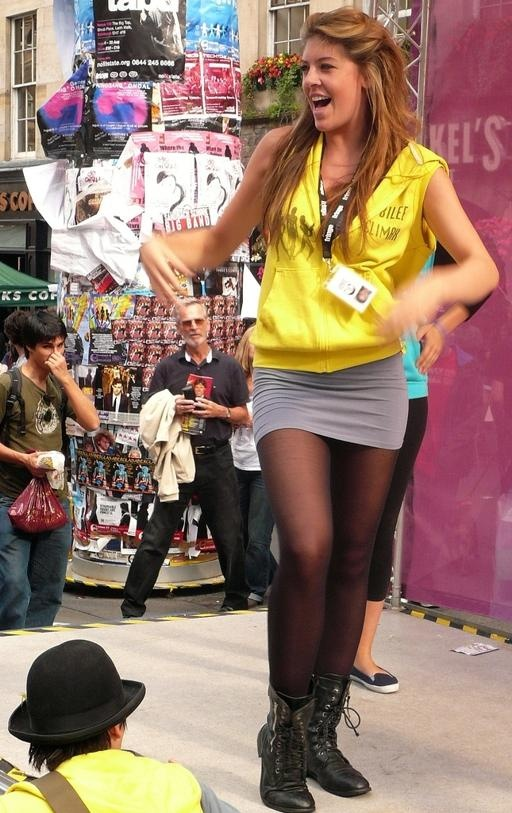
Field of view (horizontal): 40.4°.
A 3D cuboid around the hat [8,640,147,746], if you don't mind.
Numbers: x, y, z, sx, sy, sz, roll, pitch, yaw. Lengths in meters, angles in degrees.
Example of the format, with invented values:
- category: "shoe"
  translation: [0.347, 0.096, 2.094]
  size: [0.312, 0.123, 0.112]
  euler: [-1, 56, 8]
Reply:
- category: "hat"
  translation: [-0.239, 0.387, 0.963]
  size: [0.168, 0.087, 0.152]
  euler: [-28, 20, -34]

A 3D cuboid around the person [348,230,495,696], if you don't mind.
- category: "person"
  translation: [0.511, 0.088, 2.657]
  size: [0.565, 1.760, 0.501]
  euler: [1, -13, 13]

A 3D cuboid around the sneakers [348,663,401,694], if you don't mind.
- category: "sneakers"
  translation: [0.434, 1.018, 2.620]
  size: [0.138, 0.049, 0.074]
  euler: [4, 3, 44]

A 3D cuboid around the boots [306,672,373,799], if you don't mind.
- category: "boots"
  translation: [0.207, 0.855, 1.811]
  size: [0.118, 0.252, 0.265]
  euler: [13, -4, -28]

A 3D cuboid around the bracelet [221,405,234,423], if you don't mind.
- category: "bracelet"
  translation: [-0.222, 0.060, 5.571]
  size: [0.105, 0.108, 0.069]
  euler: [1, 6, 12]

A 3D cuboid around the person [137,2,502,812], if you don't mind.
- category: "person"
  translation: [0.159, 0.021, 1.667]
  size: [0.788, 1.891, 0.447]
  euler: [-1, -4, 35]
